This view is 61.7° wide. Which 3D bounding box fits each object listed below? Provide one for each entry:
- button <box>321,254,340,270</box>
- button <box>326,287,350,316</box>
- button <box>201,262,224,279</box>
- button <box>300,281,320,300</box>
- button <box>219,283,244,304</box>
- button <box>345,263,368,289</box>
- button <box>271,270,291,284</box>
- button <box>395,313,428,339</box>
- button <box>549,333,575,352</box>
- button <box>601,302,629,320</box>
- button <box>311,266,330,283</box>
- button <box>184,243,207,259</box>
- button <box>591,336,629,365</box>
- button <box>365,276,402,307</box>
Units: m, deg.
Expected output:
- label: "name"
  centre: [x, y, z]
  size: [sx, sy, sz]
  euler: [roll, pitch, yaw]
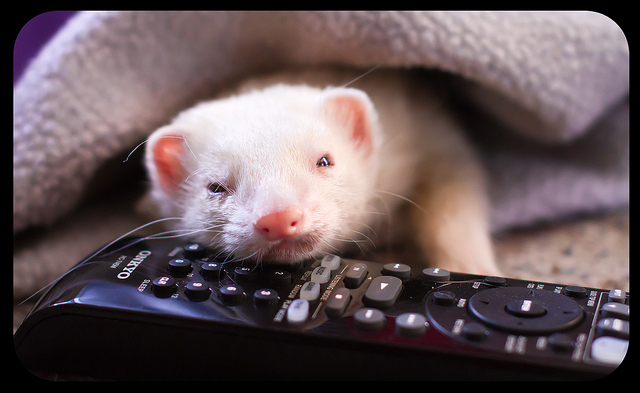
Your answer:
- label: "button"
  centre: [0.029, 0.155, 1.283]
  size: [0.033, 0.017, 0.034]
  euler: [9, 24, 16]
- label: "button"
  centre: [0.042, 0.230, 1.182]
  size: [0.044, 0.024, 0.085]
  euler: [7, 24, 19]
- label: "button"
  centre: [-0.249, 0.171, 1.245]
  size: [0.040, 0.018, 0.038]
  euler: [-2, 17, -20]
- label: "button"
  centre: [-0.023, 0.208, 1.190]
  size: [0.030, 0.013, 0.038]
  euler: [-3, 22, 8]
- label: "button"
  centre: [-0.191, 0.214, 1.179]
  size: [0.043, 0.019, 0.040]
  euler: [0, 16, -7]
- label: "button"
  centre: [0.085, 0.181, 1.258]
  size: [0.043, 0.021, 0.081]
  euler: [10, 22, 15]
- label: "button"
  centre: [-0.086, 0.183, 1.240]
  size: [0.031, 0.010, 0.029]
  euler: [0, 18, -13]
- label: "button"
  centre: [0.194, 0.272, 1.130]
  size: [0.069, 0.054, 0.023]
  euler: [2, -24, 5]
- label: "button"
  centre: [0.494, 0.295, 1.091]
  size: [0.052, 0.035, 0.018]
  euler: [10, -23, 8]
- label: "button"
  centre: [0.634, 0.247, 1.149]
  size: [0.057, 0.013, 0.029]
  euler: [2, 20, 22]
- label: "button"
  centre: [0.002, 0.180, 1.236]
  size: [0.034, 0.015, 0.033]
  euler: [7, 32, 15]
- label: "button"
  centre: [-0.311, 0.132, 1.323]
  size: [0.039, 0.013, 0.037]
  euler: [3, 17, -9]
- label: "button"
  centre: [0.591, 0.311, 1.092]
  size: [0.072, 0.062, 0.014]
  euler: [14, -23, 10]
- label: "button"
  centre: [0.146, 0.215, 1.213]
  size: [0.073, 0.027, 0.119]
  euler: [3, 18, 19]
